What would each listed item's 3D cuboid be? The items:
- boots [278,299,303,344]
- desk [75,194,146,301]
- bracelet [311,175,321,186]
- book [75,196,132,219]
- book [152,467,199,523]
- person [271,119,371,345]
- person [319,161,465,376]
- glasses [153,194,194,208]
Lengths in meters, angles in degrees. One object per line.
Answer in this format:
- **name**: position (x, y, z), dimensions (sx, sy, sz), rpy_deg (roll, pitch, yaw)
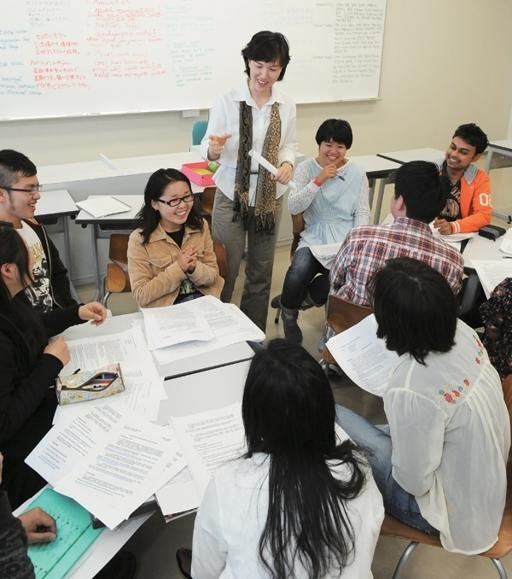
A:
- **boots**: position (0.204, 0.188, 2.685), dimensions (0.093, 0.217, 0.294), rpy_deg (-4, 26, -5)
- **desk**: position (-0.872, -0.279, 2.668), dimensions (0.412, 0.646, 0.541), rpy_deg (-8, 40, -19)
- **bracelet**: position (0.346, -0.613, 2.536), dimensions (0.037, 0.036, 0.049), rpy_deg (0, 24, 1)
- **book**: position (-0.957, -0.525, 2.800), dimensions (0.281, 0.058, 0.434), rpy_deg (-16, 27, -34)
- **book**: position (-0.168, 0.425, 0.936), dimensions (0.086, 0.022, 0.089), rpy_deg (-17, 41, -29)
- **person**: position (0.475, -0.362, 2.605), dimensions (0.676, 1.283, 0.724), rpy_deg (7, 14, 28)
- **person**: position (0.608, 0.042, 1.979), dimensions (0.443, 1.024, 0.568), rpy_deg (17, 8, 26)
- **glasses**: position (-0.363, -0.397, 2.004), dimensions (0.157, 0.050, 0.049), rpy_deg (-6, 23, -15)
